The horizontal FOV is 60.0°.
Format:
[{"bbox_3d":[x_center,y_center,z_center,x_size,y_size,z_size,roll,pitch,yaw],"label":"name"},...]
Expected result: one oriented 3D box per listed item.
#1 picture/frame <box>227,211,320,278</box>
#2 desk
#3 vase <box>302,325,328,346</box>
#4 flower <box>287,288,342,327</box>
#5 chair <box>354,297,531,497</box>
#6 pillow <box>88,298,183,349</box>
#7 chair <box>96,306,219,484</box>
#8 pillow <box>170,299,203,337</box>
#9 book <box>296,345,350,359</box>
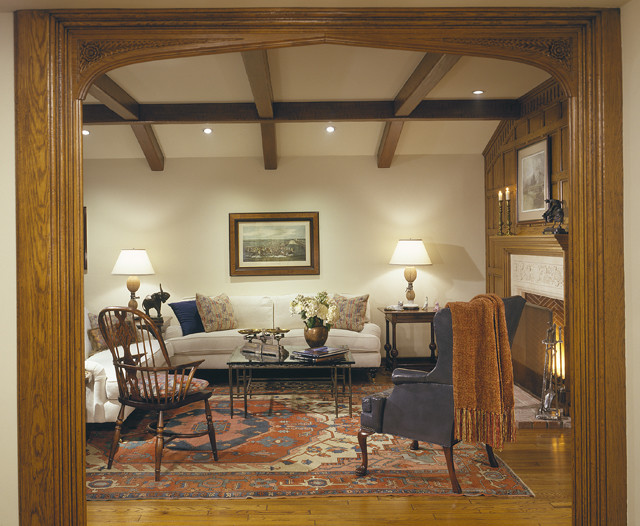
[{"bbox_3d":[-0.635,-0.241,6.980,0.969,0.617,0.080,0,-2,-2],"label":"picture/frame"},{"bbox_3d":[1.143,0.890,6.661,0.655,0.553,0.621,3,-5,13],"label":"desk"},{"bbox_3d":[-0.042,0.670,5.165,0.207,0.149,0.209,-4,-5,42],"label":"vase"},{"bbox_3d":[-0.047,0.393,5.324,0.456,0.345,0.379,2,-2,-15],"label":"flower"},{"bbox_3d":[0.889,0.893,3.942,1.107,1.086,1.143,4,-10,-15],"label":"chair"},{"bbox_3d":[-2.092,0.706,5.987,0.653,0.574,0.660,-3,-1,9],"label":"pillow"},{"bbox_3d":[-1.363,0.860,4.588,0.799,1.238,1.764,-3,5,-19],"label":"chair"},{"bbox_3d":[-1.519,0.622,6.375,0.128,0.361,0.407,-32,-14,31],"label":"pillow"},{"bbox_3d":[-0.001,0.808,5.040,0.515,0.070,0.292,0,5,3],"label":"book"}]
